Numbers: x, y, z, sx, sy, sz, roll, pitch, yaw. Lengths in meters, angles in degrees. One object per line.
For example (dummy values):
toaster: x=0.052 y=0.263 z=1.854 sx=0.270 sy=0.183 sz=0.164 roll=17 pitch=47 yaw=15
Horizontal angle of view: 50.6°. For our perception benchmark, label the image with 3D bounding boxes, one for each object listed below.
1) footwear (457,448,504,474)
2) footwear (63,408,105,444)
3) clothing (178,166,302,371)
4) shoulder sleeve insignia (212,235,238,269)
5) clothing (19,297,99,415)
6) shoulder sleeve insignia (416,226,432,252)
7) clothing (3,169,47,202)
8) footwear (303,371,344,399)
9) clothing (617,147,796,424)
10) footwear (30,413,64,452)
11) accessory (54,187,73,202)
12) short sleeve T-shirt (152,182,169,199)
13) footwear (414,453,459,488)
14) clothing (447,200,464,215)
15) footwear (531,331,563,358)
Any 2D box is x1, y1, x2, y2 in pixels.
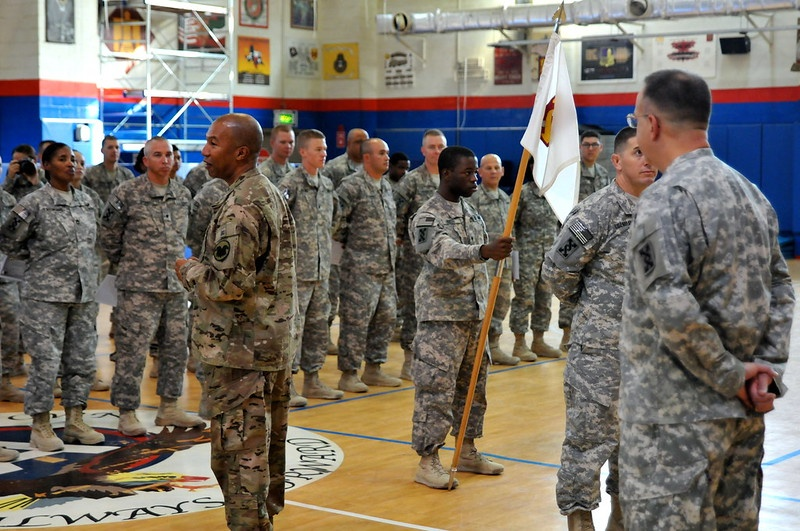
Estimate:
footwear: x=0.545 y=1.359 z=5.924 sx=0.386 sy=0.145 sz=0.142 roll=1 pitch=5 yaw=9
footwear: x=-2.414 y=1.219 z=6.453 sx=0.414 sy=0.252 sz=0.133 roll=2 pitch=2 yaw=25
clothing: x=-0.841 y=0.037 z=4.501 sx=0.623 sy=1.080 sz=0.396 roll=-2 pitch=8 yaw=-16
shoulder sleeve insignia: x=-0.868 y=-0.064 z=4.356 sx=0.168 sy=0.146 sz=0.050 roll=-9 pitch=-28 yaw=36
clothing: x=-2.616 y=0.608 z=6.504 sx=0.407 sy=1.017 sz=0.604 roll=-14 pitch=-14 yaw=33
shoulder sleeve insignia: x=0.152 y=-0.164 z=5.400 sx=0.039 sy=0.127 sz=0.149 roll=0 pitch=0 yaw=-34
clothing: x=-3.808 y=-0.800 z=8.524 sx=0.629 sy=0.200 sz=0.589 roll=11 pitch=-2 yaw=-33
footwear: x=-0.663 y=1.113 z=7.785 sx=0.512 sy=0.283 sz=0.171 roll=0 pitch=1 yaw=-1
clothing: x=1.277 y=0.074 z=3.449 sx=0.760 sy=1.096 sz=0.364 roll=-2 pitch=8 yaw=-14
footwear: x=-2.654 y=1.236 z=6.343 sx=0.417 sy=0.260 sz=0.146 roll=3 pitch=3 yaw=44
accessory: x=-2.625 y=-0.546 z=6.581 sx=0.109 sy=0.068 sz=0.109 roll=6 pitch=10 yaw=36
short sleeve T-shirt: x=-1.917 y=-0.595 z=6.753 sx=0.120 sy=0.101 sz=0.113 roll=-11 pitch=16 yaw=-32
footwear: x=0.242 y=1.357 z=5.654 sx=0.143 sy=0.213 sz=0.359 roll=4 pitch=-4 yaw=-38
clothing: x=0.366 y=-0.381 z=5.644 sx=0.113 sy=0.090 sz=0.102 roll=-1 pitch=-5 yaw=-16
footwear: x=1.728 y=0.925 z=9.677 sx=0.508 sy=0.324 sz=0.172 roll=4 pitch=4 yaw=9
